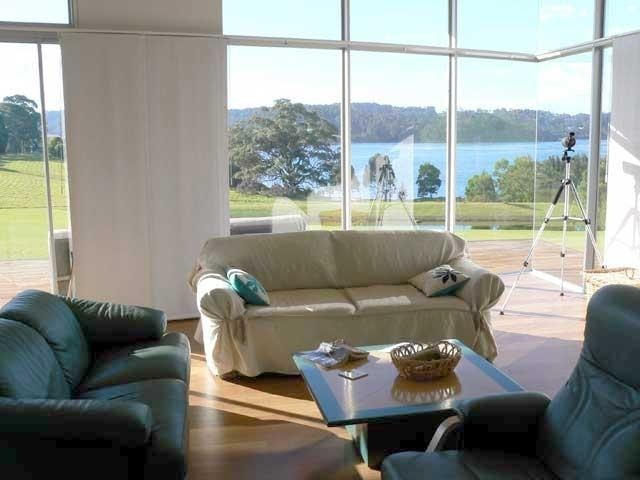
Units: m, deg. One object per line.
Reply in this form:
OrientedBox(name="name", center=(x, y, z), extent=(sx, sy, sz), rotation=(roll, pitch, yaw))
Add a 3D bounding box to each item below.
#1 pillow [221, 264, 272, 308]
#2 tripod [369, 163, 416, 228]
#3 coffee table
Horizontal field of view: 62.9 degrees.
OrientedBox(name="pillow", center=(-0.598, 0.383, 4.211), extent=(0.395, 0.261, 0.278), rotation=(-1, 11, 8))
OrientedBox(name="tripod", center=(0.828, -0.530, 5.938), extent=(0.599, 0.815, 0.148), rotation=(-8, 13, -28))
OrientedBox(name="coffee table", center=(0.404, 0.884, 2.986), extent=(0.775, 0.338, 0.905), rotation=(-3, 7, -18))
